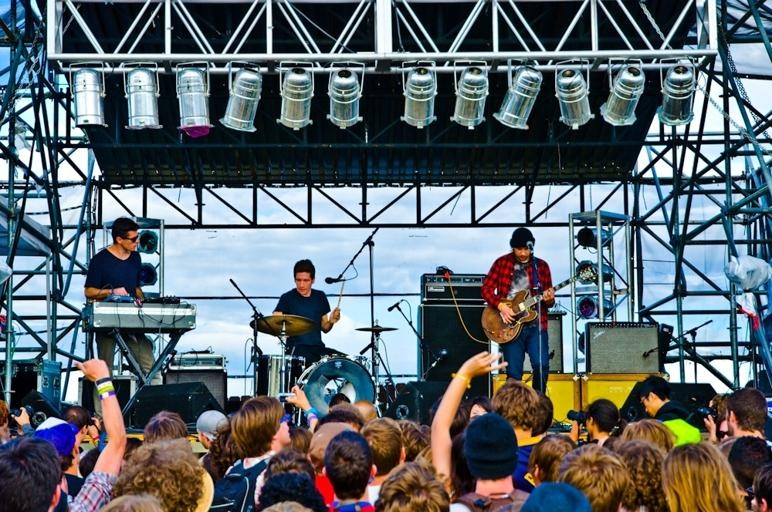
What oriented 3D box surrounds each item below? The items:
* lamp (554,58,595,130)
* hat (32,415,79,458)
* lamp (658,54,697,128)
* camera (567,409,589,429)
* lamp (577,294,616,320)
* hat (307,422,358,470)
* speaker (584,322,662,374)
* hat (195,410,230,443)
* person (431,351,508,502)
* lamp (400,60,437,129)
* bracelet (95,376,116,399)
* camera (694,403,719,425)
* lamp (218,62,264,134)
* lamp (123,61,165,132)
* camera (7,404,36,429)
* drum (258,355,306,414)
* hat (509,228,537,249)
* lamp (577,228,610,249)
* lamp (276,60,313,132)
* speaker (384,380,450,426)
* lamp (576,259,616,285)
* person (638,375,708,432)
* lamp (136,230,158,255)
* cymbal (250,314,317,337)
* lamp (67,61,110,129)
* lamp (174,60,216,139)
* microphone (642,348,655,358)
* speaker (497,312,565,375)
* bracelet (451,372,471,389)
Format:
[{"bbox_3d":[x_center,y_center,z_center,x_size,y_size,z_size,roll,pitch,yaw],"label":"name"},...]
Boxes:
[{"bbox_3d":[2.426,-2.057,24.562,0.395,0.762,0.356,-3,-11,9],"label":"lamp"},{"bbox_3d":[-3.440,1.905,20.180,0.324,0.237,0.460,-6,33,-9],"label":"hat"},{"bbox_3d":[3.776,-2.105,24.565,0.504,0.741,0.594,-2,-11,5],"label":"lamp"},{"bbox_3d":[2.251,1.887,22.289,0.227,0.089,0.216,36,2,21],"label":"camera"},{"bbox_3d":[2.952,0.723,26.805,0.295,0.269,0.499,-5,-4,31],"label":"lamp"},{"bbox_3d":[-0.537,2.001,20.100,0.389,0.426,0.537,2,16,14],"label":"hat"},{"bbox_3d":[3.033,1.181,24.160,1.043,0.752,0.630,0,-10,-1],"label":"speaker"},{"bbox_3d":[-1.875,1.852,21.085,0.270,0.214,0.372,-3,-2,-42],"label":"hat"},{"bbox_3d":[0.901,1.713,20.053,0.947,1.310,0.697,2,2,10],"label":"person"},{"bbox_3d":[0.455,-2.082,24.605,0.392,0.734,0.559,-1,-11,-4],"label":"lamp"},{"bbox_3d":[-2.924,1.383,19.997,0.163,0.228,0.248,-19,5,-13],"label":"bracelet"},{"bbox_3d":[3.760,1.828,22.236,0.174,0.088,0.225,22,-13,-27],"label":"camera"},{"bbox_3d":[-1.839,-2.037,24.572,0.472,0.790,0.488,2,-11,-17],"label":"lamp"},{"bbox_3d":[-3.107,-2.023,24.563,0.462,0.812,0.415,0,-11,-6],"label":"lamp"},{"bbox_3d":[-4.155,1.853,21.670,0.268,0.172,0.409,23,5,-43],"label":"camera"},{"bbox_3d":[-1.297,1.641,24.002,0.701,0.753,0.657,2,-15,-5],"label":"drum"},{"bbox_3d":[1.724,-0.211,23.845,0.225,0.216,0.279,0,-26,4],"label":"hat"},{"bbox_3d":[2.987,-0.235,27.030,0.444,0.240,0.234,3,4,-41],"label":"lamp"},{"bbox_3d":[-1.154,-2.051,24.639,0.429,0.745,0.580,-1,-11,-4],"label":"lamp"},{"bbox_3d":[0.350,1.760,23.133,0.720,0.699,0.499,7,-7,-42],"label":"speaker"},{"bbox_3d":[2.836,0.248,25.731,0.364,0.326,0.603,-37,-24,33],"label":"lamp"},{"bbox_3d":[3.352,1.704,22.179,0.758,0.373,0.812,-9,-16,-1],"label":"person"},{"bbox_3d":[-3.342,-0.199,27.005,0.304,0.323,0.305,1,0,-18],"label":"lamp"},{"bbox_3d":[-1.250,0.881,23.874,0.426,0.150,0.426,-16,-31,21],"label":"cymbal"},{"bbox_3d":[-3.782,-2.027,24.454,0.679,1.034,0.644,-1,-5,-12],"label":"lamp"},{"bbox_3d":[-2.462,-2.023,24.561,0.416,0.846,0.540,0,-11,-6],"label":"lamp"},{"bbox_3d":[3.342,1.236,24.140,0.135,0.051,0.081,-29,-26,-46],"label":"microphone"},{"bbox_3d":[1.913,1.144,25.262,0.715,1.152,0.711,0,-9,3],"label":"speaker"},{"bbox_3d":[0.816,1.308,20.067,0.190,0.187,0.062,-30,-10,-7],"label":"bracelet"}]
